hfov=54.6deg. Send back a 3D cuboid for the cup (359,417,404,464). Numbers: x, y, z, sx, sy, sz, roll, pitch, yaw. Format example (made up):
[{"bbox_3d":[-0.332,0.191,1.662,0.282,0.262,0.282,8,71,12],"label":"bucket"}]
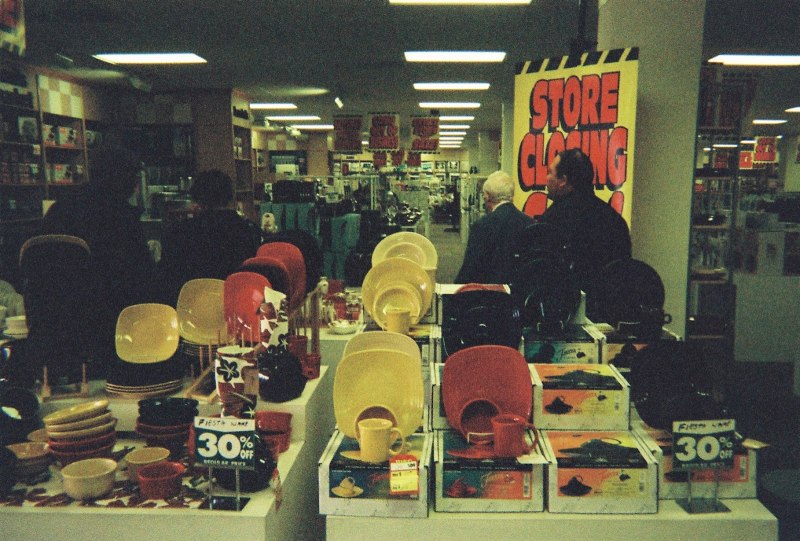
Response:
[{"bbox_3d":[-0.110,0.934,4.295,0.257,0.220,0.117,1,3,-3],"label":"cup"}]

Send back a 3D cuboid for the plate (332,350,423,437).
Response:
[{"bbox_3d":[-0.103,0.596,4.417,0.523,0.097,0.513,-27,34,-33],"label":"plate"}]

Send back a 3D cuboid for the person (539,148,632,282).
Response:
[{"bbox_3d":[1.341,-0.385,5.553,0.588,1.001,0.822,5,18,45],"label":"person"}]

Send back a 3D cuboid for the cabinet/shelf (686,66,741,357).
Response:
[{"bbox_3d":[3.094,-0.796,7.355,0.476,2.706,0.545,8,-7,-37],"label":"cabinet/shelf"}]

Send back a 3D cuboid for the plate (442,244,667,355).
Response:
[{"bbox_3d":[0.951,0.187,4.754,0.975,0.346,0.725,-2,8,4],"label":"plate"}]

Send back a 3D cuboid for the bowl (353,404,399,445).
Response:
[{"bbox_3d":[-0.133,0.855,4.302,0.248,0.174,0.160,0,1,9],"label":"bowl"}]
